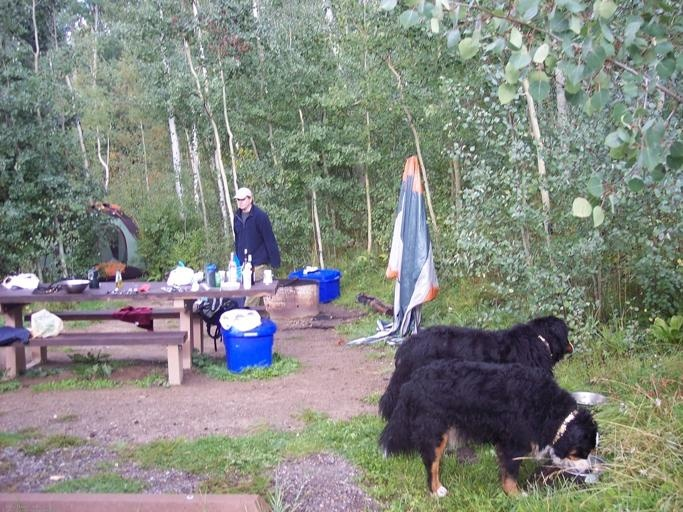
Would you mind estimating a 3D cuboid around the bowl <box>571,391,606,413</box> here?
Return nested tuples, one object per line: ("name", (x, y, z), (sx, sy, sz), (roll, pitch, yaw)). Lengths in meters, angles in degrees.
("bowl", (2.483, 1.466, 6.444), (0.367, 0.106, 0.228), (14, 18, -35))

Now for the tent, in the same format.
("tent", (-6.007, -0.417, 17.083), (1.360, 2.086, 0.436), (-8, 10, -44))

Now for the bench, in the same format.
("bench", (-3.065, 1.181, 8.758), (1.376, 0.420, 1.609), (-1, 0, -4))

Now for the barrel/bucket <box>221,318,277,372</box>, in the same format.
("barrel/bucket", (-1.344, 1.230, 9.216), (0.589, 0.808, 0.800), (-2, 2, -19))

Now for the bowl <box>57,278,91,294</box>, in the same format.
("bowl", (-3.684, 0.407, 8.854), (0.384, 0.180, 0.371), (-1, 8, 0))

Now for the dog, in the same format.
("dog", (1.354, 1.462, 6.156), (1.874, 1.293, 1.010), (1, 7, 9))

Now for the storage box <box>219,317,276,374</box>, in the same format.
("storage box", (-1.305, 1.240, 8.981), (0.656, 0.750, 0.612), (-1, 0, 5))

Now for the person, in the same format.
("person", (-1.472, -0.089, 11.098), (0.618, 2.006, 0.832), (0, 1, -14))
